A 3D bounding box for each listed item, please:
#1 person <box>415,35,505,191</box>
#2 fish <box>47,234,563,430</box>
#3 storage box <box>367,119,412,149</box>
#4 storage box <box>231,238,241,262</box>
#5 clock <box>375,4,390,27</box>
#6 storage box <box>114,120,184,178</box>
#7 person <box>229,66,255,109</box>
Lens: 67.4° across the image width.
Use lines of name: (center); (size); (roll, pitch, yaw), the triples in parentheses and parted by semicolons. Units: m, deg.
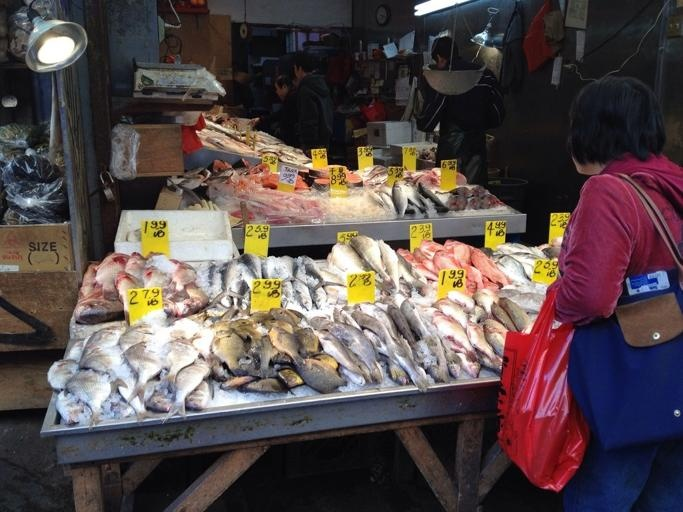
person: (1.198, -1.396, 5.062); (0.859, 1.429, 0.974); (3, 18, 8)
fish: (-0.031, 0.321, 2.243); (2.026, 0.216, 1.146); (-4, 24, -13)
storage box: (0.697, -1.757, 7.352); (0.518, 0.353, 0.625); (17, 24, 41)
storage box: (-0.676, -0.036, 3.276); (0.039, 0.137, 0.135); (-1, -7, -10)
clock: (0.823, -4.721, 10.082); (0.064, 0.409, 0.455); (-10, 21, -30)
storage box: (-1.292, -0.692, 3.384); (0.457, 0.328, 0.137); (-7, 19, -20)
person: (-1.859, -3.075, 9.411); (0.343, 0.792, 0.450); (5, 6, 29)
